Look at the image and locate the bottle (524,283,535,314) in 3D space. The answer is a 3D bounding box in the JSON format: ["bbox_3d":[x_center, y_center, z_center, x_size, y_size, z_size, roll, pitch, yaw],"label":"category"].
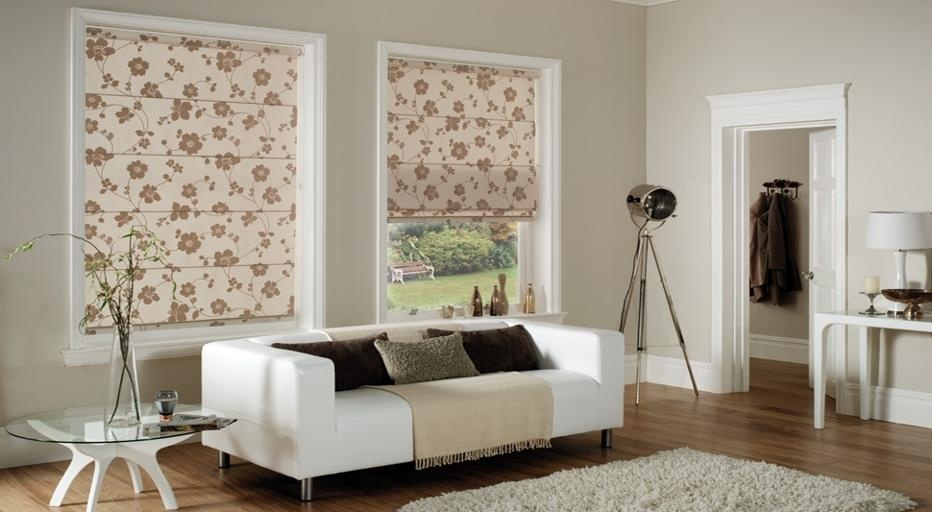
[{"bbox_3d":[0.728,0.471,7.820,0.141,0.322,0.251,-1,7,5],"label":"bottle"}]

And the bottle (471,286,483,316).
[{"bbox_3d":[0.118,0.484,7.538,0.123,0.316,0.280,-2,7,1],"label":"bottle"}]

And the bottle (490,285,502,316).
[{"bbox_3d":[0.332,0.494,7.532,0.153,0.293,0.102,-2,7,-1],"label":"bottle"}]

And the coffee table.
[{"bbox_3d":[-2.663,1.381,5.073,1.165,0.389,1.077,3,-2,-1],"label":"coffee table"}]
